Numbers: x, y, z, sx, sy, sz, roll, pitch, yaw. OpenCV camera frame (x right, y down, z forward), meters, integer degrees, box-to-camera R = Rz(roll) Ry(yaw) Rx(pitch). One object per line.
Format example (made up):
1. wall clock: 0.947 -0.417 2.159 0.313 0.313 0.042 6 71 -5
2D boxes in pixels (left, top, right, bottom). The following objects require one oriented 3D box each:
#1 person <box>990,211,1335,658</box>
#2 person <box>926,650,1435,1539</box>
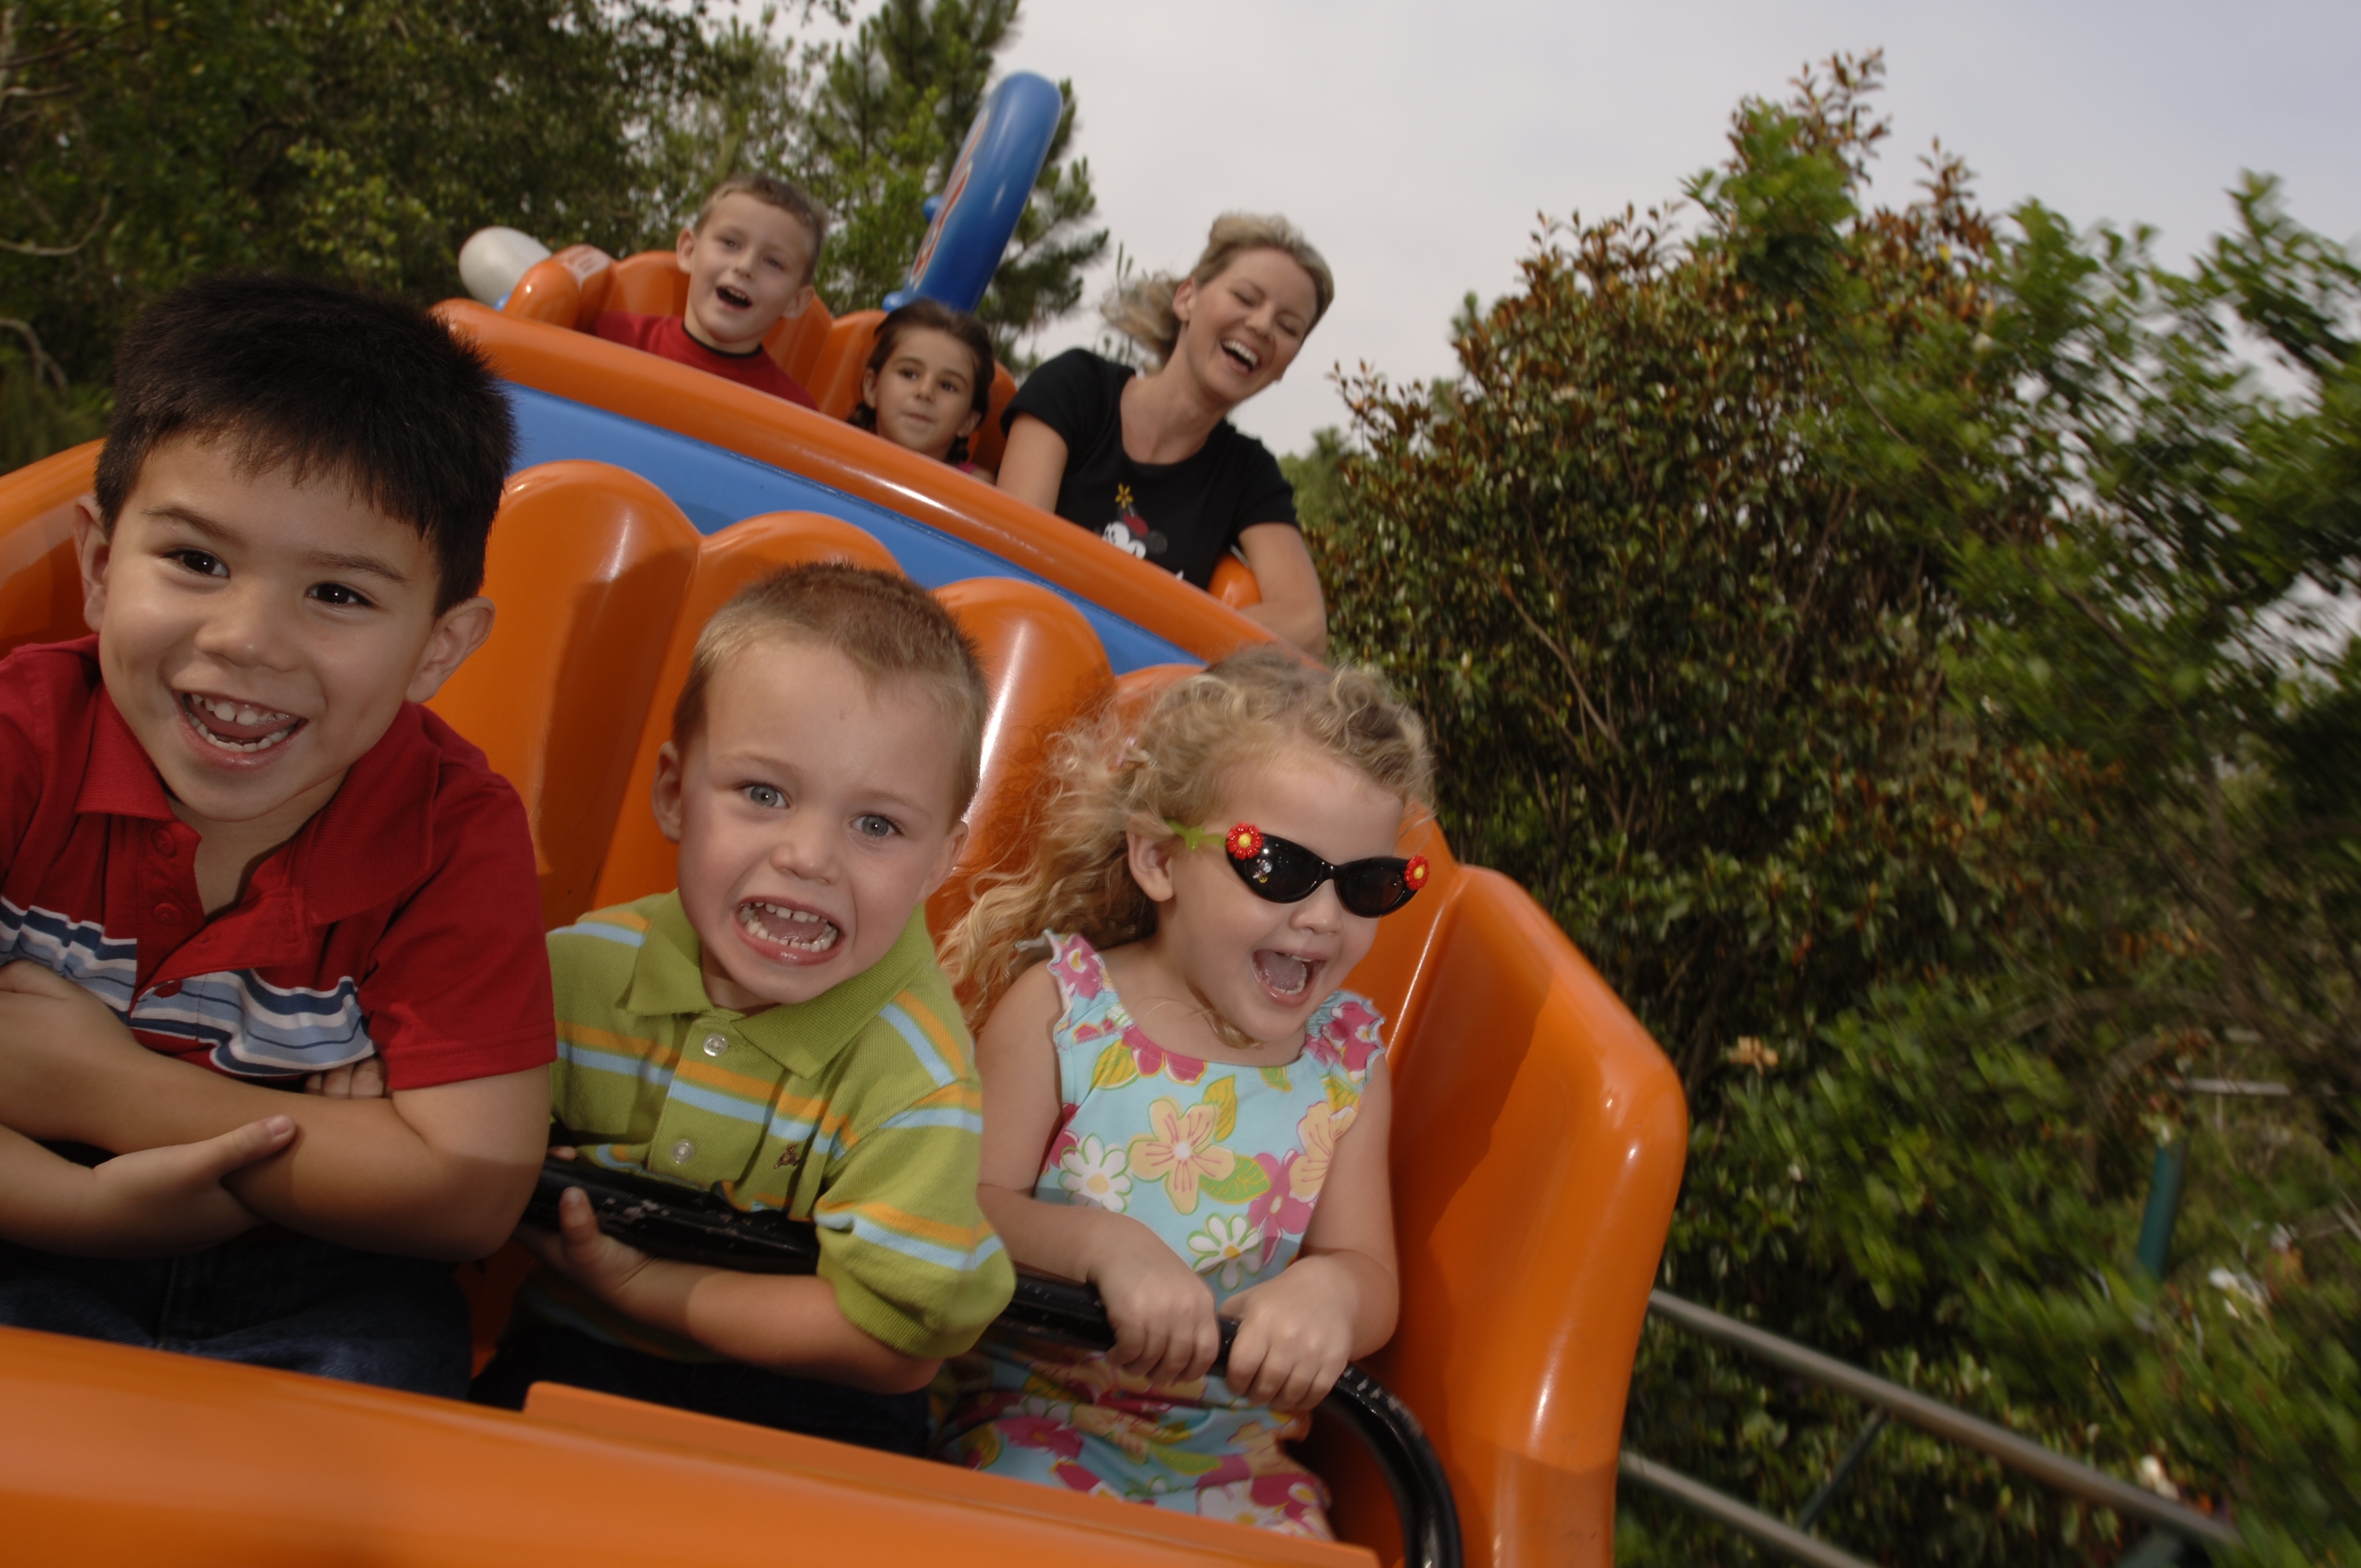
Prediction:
1. person: 0.038 -0.859 3.382 0.697 0.803 0.592 21 6 -10
2. person: 0.022 0.367 1.709 0.492 0.990 0.521 16 -13 -29
